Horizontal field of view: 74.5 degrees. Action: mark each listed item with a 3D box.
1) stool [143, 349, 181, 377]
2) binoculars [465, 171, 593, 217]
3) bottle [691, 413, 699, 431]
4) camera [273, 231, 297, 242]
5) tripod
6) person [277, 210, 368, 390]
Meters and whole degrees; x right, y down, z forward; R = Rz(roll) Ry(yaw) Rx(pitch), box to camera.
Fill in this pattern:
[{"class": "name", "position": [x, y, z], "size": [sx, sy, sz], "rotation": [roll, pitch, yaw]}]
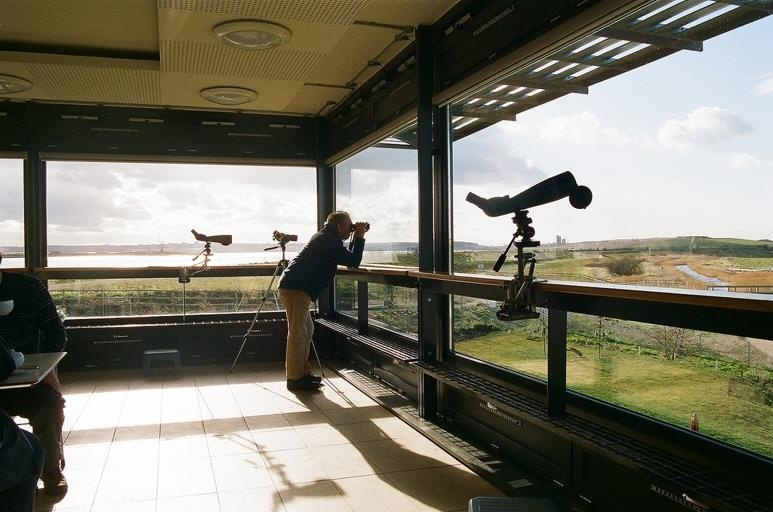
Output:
[{"class": "stool", "position": [-2.883, 1.308, 6.464], "size": [0.486, 0.300, 0.340], "rotation": [1, -2, -30]}, {"class": "binoculars", "position": [0.823, -0.361, 3.008], "size": [0.189, 0.236, 0.736], "rotation": [-4, 5, -38]}, {"class": "bottle", "position": [1.767, 0.953, 2.911], "size": [0.039, 0.100, 0.021], "rotation": [2, 5, 34]}, {"class": "camera", "position": [-1.325, -0.240, 6.653], "size": [0.233, 0.099, 0.155], "rotation": [0, 0, -28]}, {"class": "tripod", "position": [-1.568, 0.725, 6.773], "size": [1.012, 1.501, 1.178], "rotation": [6, 3, -33]}, {"class": "person", "position": [-0.822, 0.485, 6.012], "size": [0.999, 2.011, 0.693], "rotation": [0, 0, -13]}]
